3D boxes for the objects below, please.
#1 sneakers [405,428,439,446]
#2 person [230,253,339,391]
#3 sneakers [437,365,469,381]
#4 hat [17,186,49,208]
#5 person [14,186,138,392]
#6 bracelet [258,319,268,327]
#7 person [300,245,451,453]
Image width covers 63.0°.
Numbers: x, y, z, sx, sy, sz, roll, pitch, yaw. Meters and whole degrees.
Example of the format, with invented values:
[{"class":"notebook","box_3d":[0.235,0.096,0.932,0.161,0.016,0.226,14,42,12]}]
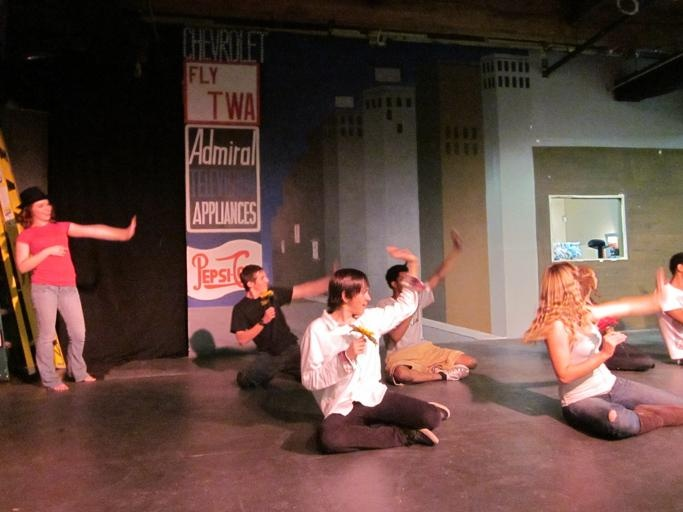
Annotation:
[{"class":"sneakers","box_3d":[0.557,1.258,3.902,0.262,0.099,0.099,-1,0,14]},{"class":"person","box_3d":[-0.619,0.647,5.435,1.146,1.302,0.632,0,-13,-21]},{"class":"sneakers","box_3d":[1.075,1.095,5.305,0.200,0.085,0.140,-11,-6,16]},{"class":"hat","box_3d":[-2.997,-0.606,5.402,0.246,0.096,0.218,-16,5,-11]},{"class":"person","box_3d":[-2.797,0.292,5.617,0.617,1.958,0.803,1,6,22]},{"class":"bracelet","box_3d":[-0.716,0.614,5.130,0.104,0.039,0.104,3,2,16]},{"class":"person","box_3d":[0.195,0.640,3.794,0.915,1.368,0.535,-3,6,-19]}]
